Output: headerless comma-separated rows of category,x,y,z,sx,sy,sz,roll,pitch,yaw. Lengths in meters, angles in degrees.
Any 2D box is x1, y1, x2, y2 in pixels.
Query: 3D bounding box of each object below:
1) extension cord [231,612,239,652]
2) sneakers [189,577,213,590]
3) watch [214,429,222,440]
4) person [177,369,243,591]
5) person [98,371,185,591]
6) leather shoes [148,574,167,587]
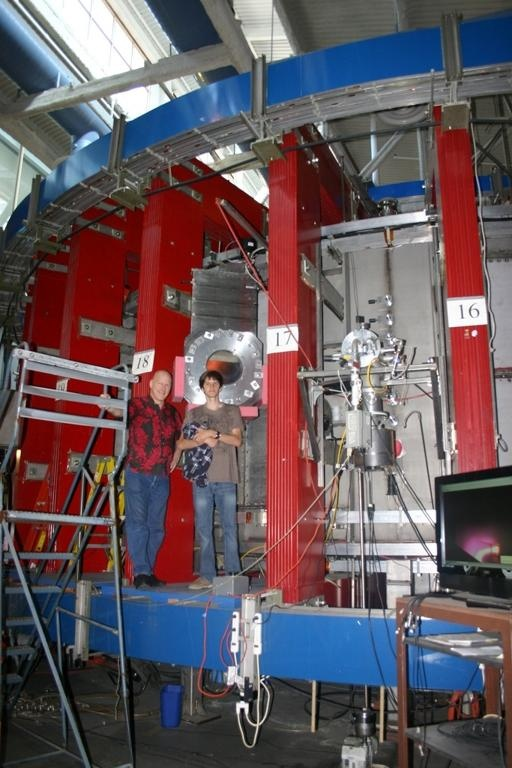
extension cord,-0.106,1.278,3.203,0.043,0.207,0.076,2,-15,-3
sneakers,-0.341,1.251,3.918,0.144,0.069,0.150,-1,-15,9
watch,-0.236,0.322,3.910,0.034,0.053,0.048,3,-15,-4
person,-0.282,0.596,4.030,0.371,1.387,0.483,13,-18,-36
person,-0.694,0.609,4.135,0.395,1.404,0.413,6,-15,-18
leather shoes,-0.628,1.283,4.074,0.149,0.107,0.053,2,0,-9
